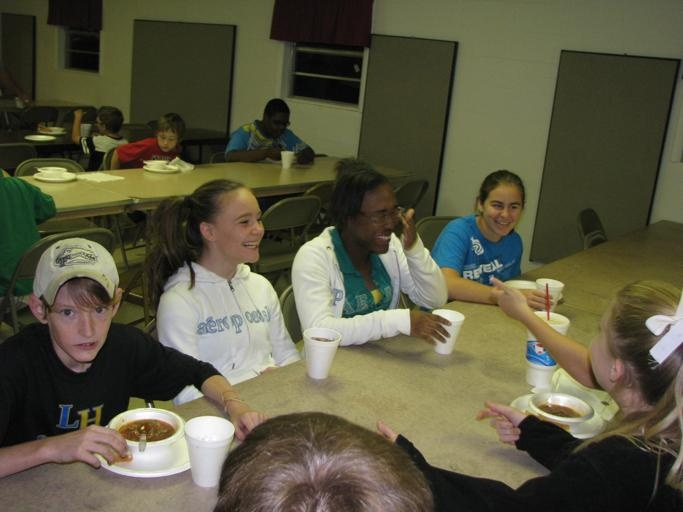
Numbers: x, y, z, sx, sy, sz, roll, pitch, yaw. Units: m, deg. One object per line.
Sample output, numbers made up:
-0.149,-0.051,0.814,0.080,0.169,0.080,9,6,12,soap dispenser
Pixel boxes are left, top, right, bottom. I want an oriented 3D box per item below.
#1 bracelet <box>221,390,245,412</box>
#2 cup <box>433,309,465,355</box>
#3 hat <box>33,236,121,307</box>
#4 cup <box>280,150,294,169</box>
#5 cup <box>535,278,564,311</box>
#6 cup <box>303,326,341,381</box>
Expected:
-0.309,0.400,1.574,0.037,0.025,0.062,1,23,-23,bracelet
0.377,0.259,1.990,0.138,0.151,0.137,2,9,0,cup
-0.714,0.051,1.524,0.161,0.115,0.217,-1,-3,-26,hat
-0.509,-0.930,5.323,0.154,0.166,0.152,5,25,-2,cup
0.878,0.166,2.390,0.097,0.103,0.098,-1,18,0,cup
-0.063,0.294,1.745,0.138,0.135,0.138,3,6,0,cup
